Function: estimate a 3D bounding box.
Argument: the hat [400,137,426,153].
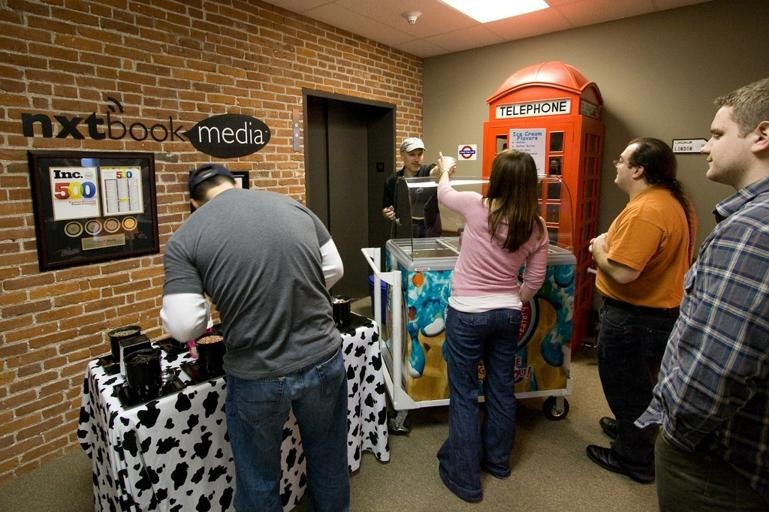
[{"bbox_3d":[0.263,-1.076,5.073,0.188,0.134,0.257,1,8,-6],"label":"hat"}]

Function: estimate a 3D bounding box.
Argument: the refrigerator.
[{"bbox_3d":[0.700,0.466,4.164,1.421,1.089,0.798,-1,15,-9],"label":"refrigerator"}]

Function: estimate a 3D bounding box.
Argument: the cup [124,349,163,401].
[{"bbox_3d":[-1.366,0.677,2.892,0.195,0.233,0.228,-3,7,-13],"label":"cup"}]

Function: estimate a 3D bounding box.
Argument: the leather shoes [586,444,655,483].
[{"bbox_3d":[1.621,1.449,3.620,0.155,0.197,0.455,-8,17,-33],"label":"leather shoes"}]

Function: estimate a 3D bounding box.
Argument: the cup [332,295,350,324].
[{"bbox_3d":[-0.279,0.366,3.475,0.148,0.169,0.149,-2,13,0],"label":"cup"}]

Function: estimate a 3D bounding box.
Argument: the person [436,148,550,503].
[{"bbox_3d":[0.677,0.465,3.393,0.691,2.264,0.532,4,12,17],"label":"person"}]

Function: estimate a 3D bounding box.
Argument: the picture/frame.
[{"bbox_3d":[-2.221,-0.366,3.831,0.044,0.969,0.925,5,9,43],"label":"picture/frame"}]
